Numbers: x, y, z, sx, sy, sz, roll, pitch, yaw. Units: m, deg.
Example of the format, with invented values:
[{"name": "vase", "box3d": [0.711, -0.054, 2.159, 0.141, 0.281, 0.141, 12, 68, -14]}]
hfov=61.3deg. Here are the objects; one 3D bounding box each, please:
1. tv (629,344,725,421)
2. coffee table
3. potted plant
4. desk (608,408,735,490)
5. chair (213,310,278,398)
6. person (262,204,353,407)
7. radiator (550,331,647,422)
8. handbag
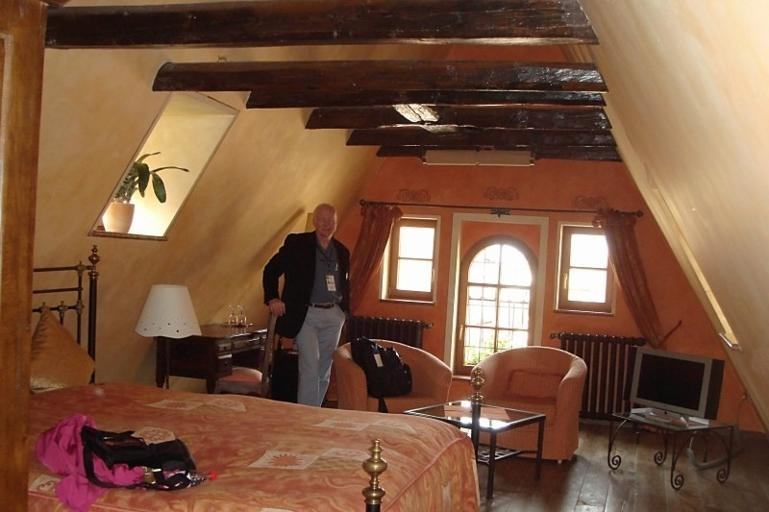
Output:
[{"name": "tv", "box3d": [2.737, 1.197, 6.083, 0.339, 0.728, 1.016, 10, -6, -38]}, {"name": "coffee table", "box3d": [0.758, 1.428, 5.665, 0.987, 0.625, 1.015, 1, 1, 42]}, {"name": "potted plant", "box3d": [-1.995, -0.533, 5.349, 0.513, 0.713, 0.647, 6, 2, 20]}, {"name": "desk", "box3d": [2.763, 1.716, 6.157, 1.012, 0.630, 1.005, -2, 4, -30]}, {"name": "chair", "box3d": [-1.344, 0.963, 6.265, 0.581, 0.639, 0.981, 1, 1, 16]}, {"name": "person", "box3d": [-0.659, 0.505, 5.875, 0.890, 1.915, 0.602, -6, 21, -32]}, {"name": "radiator", "box3d": [2.399, 1.358, 7.183, 1.070, 1.085, 0.173, 3, -1, 9]}, {"name": "handbag", "box3d": [-1.129, 0.930, 3.005, 0.345, 0.124, 0.345, 2, 1, -9]}]
